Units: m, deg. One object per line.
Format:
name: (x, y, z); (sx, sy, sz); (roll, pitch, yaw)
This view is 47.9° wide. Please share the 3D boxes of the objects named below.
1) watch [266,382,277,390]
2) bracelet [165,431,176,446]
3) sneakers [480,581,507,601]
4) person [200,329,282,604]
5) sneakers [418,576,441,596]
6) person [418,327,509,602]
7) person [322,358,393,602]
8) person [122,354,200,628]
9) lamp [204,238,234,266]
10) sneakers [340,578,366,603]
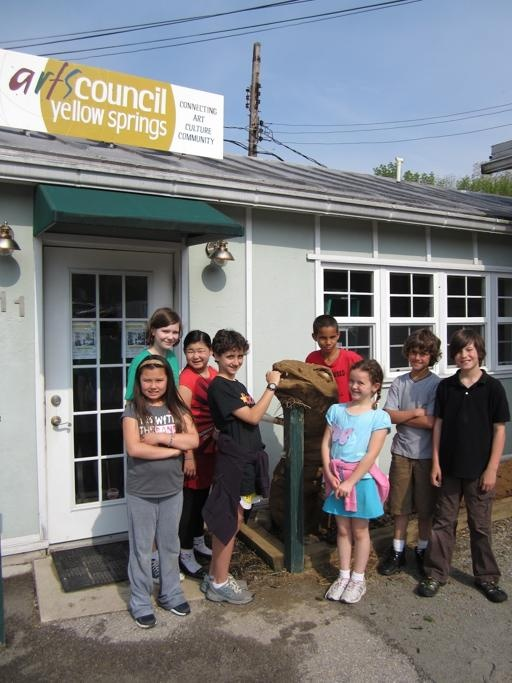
watch: (0.094, 0.266, 3.363); (0.055, 0.037, 0.051); (1, -20, -19)
bracelet: (-0.457, 0.523, 3.065); (0.014, 0.057, 0.042); (9, -4, -30)
sneakers: (1.412, 1.468, 3.414); (0.057, 0.062, 0.156); (-4, 13, -6)
person: (-0.092, 0.718, 3.294); (0.415, 1.562, 0.326); (1, 3, -6)
sneakers: (1.034, 1.477, 3.457); (0.097, 0.070, 0.156); (4, 6, 41)
person: (1.263, 0.829, 3.479); (0.503, 1.366, 0.371); (2, 3, 17)
person: (0.583, 0.809, 3.393); (0.387, 1.385, 0.291); (1, 3, 6)
person: (-0.522, 0.800, 3.159); (0.409, 1.419, 0.327); (-1, 4, -24)
lamp: (-0.309, -0.715, 4.618); (0.173, 0.233, 0.182); (3, -2, -28)
sneakers: (0.569, 1.451, 3.355); (0.072, 0.091, 0.202); (-3, -9, 25)
